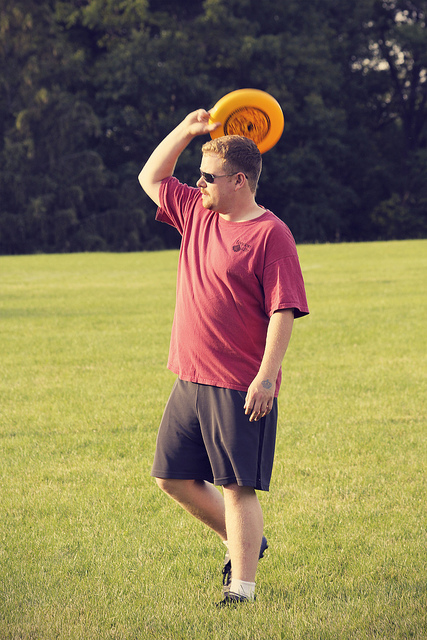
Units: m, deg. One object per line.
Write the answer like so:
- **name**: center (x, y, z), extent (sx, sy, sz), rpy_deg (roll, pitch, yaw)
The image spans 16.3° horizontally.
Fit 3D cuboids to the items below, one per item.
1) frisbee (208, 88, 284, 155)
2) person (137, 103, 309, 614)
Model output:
- **frisbee**: center (0.208, -1.192, 8.792), extent (0.344, 0.412, 0.115), rpy_deg (25, 22, -17)
- **person**: center (0.034, 0.227, 8.531), extent (0.988, 2.882, 0.380), rpy_deg (3, 2, 35)
